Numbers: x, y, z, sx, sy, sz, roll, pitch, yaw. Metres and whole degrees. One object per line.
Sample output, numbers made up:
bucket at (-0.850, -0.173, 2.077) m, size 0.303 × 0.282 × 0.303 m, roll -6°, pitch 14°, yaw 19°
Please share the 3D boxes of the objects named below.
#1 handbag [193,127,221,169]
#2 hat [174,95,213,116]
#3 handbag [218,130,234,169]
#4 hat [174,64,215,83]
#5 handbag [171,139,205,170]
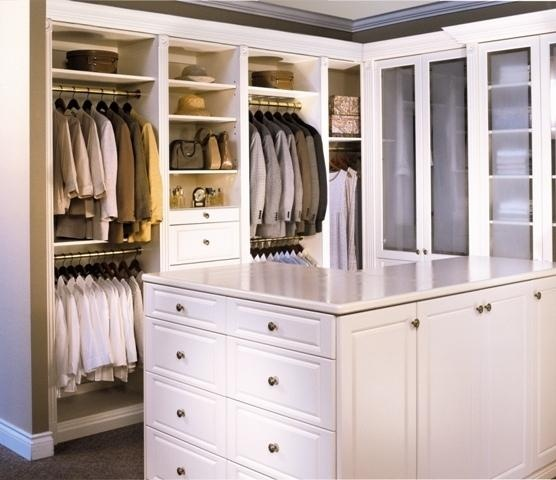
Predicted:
handbag at (-0.551, -0.722, 3.965) m, size 0.094 × 0.304 × 0.325 m, roll -12°, pitch 19°, yaw -32°
hat at (-0.638, -0.997, 3.876) m, size 0.186 × 0.132 × 0.190 m, roll -2°, pitch 3°, yaw -33°
handbag at (-0.393, -0.680, 3.938) m, size 0.099 × 0.298 × 0.289 m, roll -1°, pitch 2°, yaw -12°
hat at (-0.615, -1.251, 3.885) m, size 0.236 × 0.107 × 0.280 m, roll -2°, pitch 6°, yaw -19°
handbag at (-0.654, -0.618, 3.826) m, size 0.236 × 0.233 × 0.128 m, roll -2°, pitch 1°, yaw -10°
